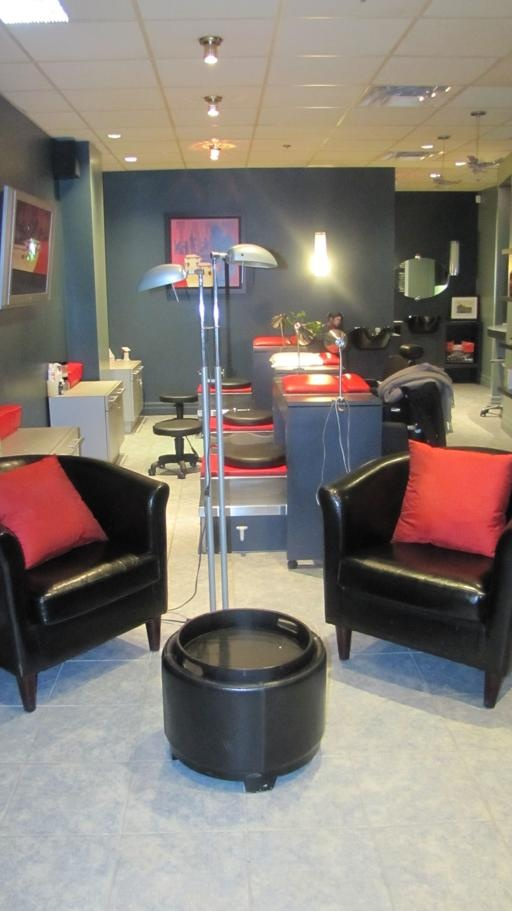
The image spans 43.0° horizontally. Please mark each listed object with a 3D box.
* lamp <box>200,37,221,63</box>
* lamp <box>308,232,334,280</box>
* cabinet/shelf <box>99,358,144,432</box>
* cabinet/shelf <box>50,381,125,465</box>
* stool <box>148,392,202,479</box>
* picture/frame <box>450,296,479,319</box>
[{"bbox_3d":[-0.227,-2.057,3.280,0.103,0.119,0.108,-2,18,-3],"label":"lamp"},{"bbox_3d":[0.743,-2.295,7.452,0.256,0.491,0.328,1,7,9],"label":"lamp"},{"bbox_3d":[-1.313,-0.593,6.328,0.241,0.427,0.817,-1,14,-4],"label":"cabinet/shelf"},{"bbox_3d":[-1.427,-0.327,5.626,0.493,0.653,0.891,-1,21,-4],"label":"cabinet/shelf"},{"bbox_3d":[-0.762,-0.237,6.128,0.434,0.648,1.967,-1,7,-7],"label":"stool"},{"bbox_3d":[3.128,-2.200,9.692,0.290,0.336,0.022,1,8,-2],"label":"picture/frame"}]
